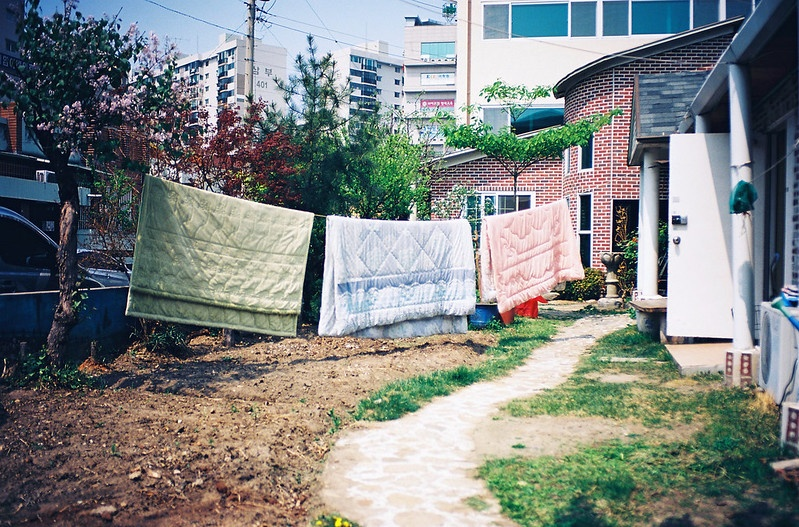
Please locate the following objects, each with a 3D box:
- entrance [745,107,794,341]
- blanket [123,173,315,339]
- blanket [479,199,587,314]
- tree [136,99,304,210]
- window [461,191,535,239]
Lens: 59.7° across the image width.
[{"bbox_3d":[5.411,-0.618,10.118,0.276,4.089,3.267,1,2,26],"label":"entrance"},{"bbox_3d":[-2.993,-0.061,11.030,2.747,2.191,0.219,12,0,-29],"label":"blanket"},{"bbox_3d":[2.871,-0.057,14.556,2.392,1.866,0.907,-19,13,-31],"label":"blanket"},{"bbox_3d":[-3.360,-2.146,14.612,2.264,1.887,2.336,1,8,-1],"label":"tree"},{"bbox_3d":[2.453,-1.228,17.083,1.595,1.092,0.068,-4,-12,-5],"label":"window"}]
